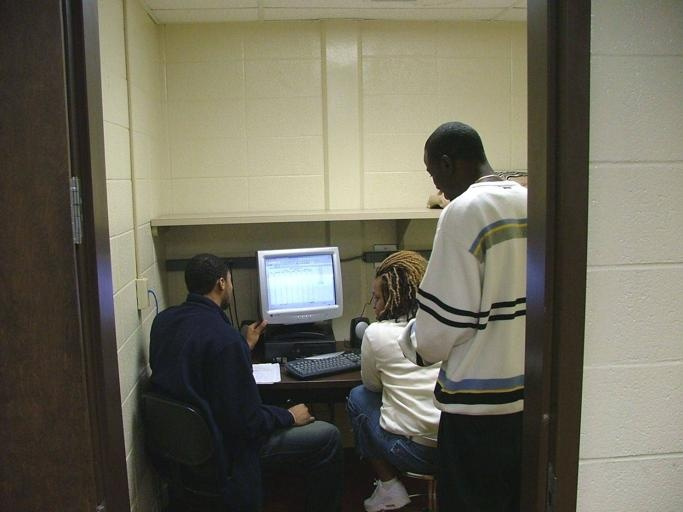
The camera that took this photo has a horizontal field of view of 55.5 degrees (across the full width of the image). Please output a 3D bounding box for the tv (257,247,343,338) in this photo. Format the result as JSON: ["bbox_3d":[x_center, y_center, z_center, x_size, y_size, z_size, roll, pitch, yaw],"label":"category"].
[{"bbox_3d":[-0.235,0.131,3.371,0.555,0.555,0.333,-2,-4,-15],"label":"tv"}]

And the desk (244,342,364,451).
[{"bbox_3d":[-0.182,0.722,3.307,0.775,0.552,0.490,-1,2,-7],"label":"desk"}]

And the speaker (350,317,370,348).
[{"bbox_3d":[0.095,0.391,3.303,0.093,0.157,0.083,0,2,-24],"label":"speaker"}]
